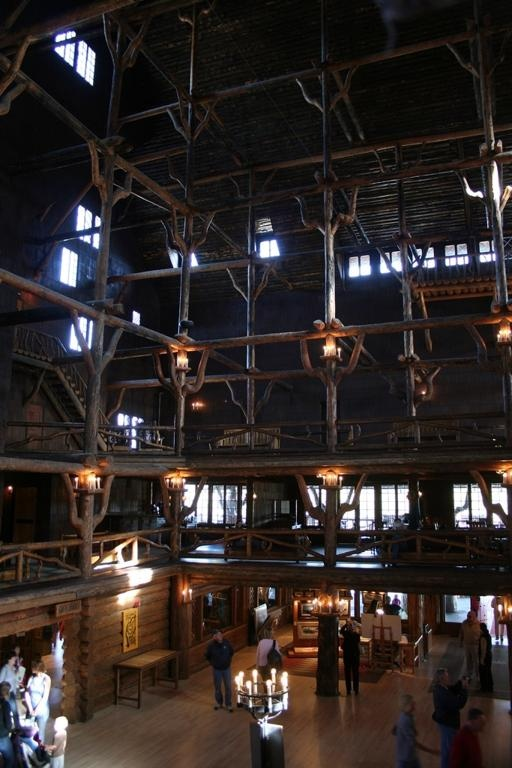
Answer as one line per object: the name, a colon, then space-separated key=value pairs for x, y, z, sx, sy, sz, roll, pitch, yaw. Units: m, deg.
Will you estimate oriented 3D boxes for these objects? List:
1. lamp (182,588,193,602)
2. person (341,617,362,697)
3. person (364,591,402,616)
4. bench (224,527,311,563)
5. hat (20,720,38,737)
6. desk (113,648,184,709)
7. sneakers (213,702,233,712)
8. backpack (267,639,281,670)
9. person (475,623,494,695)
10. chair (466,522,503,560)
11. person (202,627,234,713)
lamp: x=-1.372 y=4.295 z=13.431 sx=0.141 sy=0.275 sz=0.399 roll=-7 pitch=-13 yaw=22
person: x=1.757 y=5.037 z=12.240 sx=0.343 sy=1.226 sz=0.625 roll=-3 pitch=-13 yaw=5
person: x=3.009 y=5.270 z=15.632 sx=0.725 sy=0.452 sz=0.739 roll=-3 pitch=-11 yaw=16
bench: x=0.209 y=3.436 z=14.086 sx=1.763 sy=0.646 sz=3.650 roll=-2 pitch=-12 yaw=0
hat: x=-2.604 y=3.957 z=7.567 sx=0.187 sy=0.195 sz=0.358 roll=2 pitch=-13 yaw=-19
desk: x=-1.919 y=5.189 z=11.710 sx=0.506 sy=0.677 sz=1.406 roll=-3 pitch=-12 yaw=22
sneakers: x=-0.552 y=5.455 z=11.132 sx=0.356 sy=0.103 sz=0.262 roll=-4 pitch=-12 yaw=9
backpack: x=0.301 y=5.007 z=12.120 sx=0.235 sy=0.548 sz=0.596 roll=-4 pitch=-13 yaw=7
person: x=4.200 y=5.019 z=12.194 sx=0.264 sy=1.164 sz=1.013 roll=-6 pitch=-13 yaw=17
chair: x=4.708 y=3.213 z=13.464 sx=0.669 sy=0.528 sz=4.441 roll=-6 pitch=-13 yaw=18
person: x=-0.638 y=4.872 z=11.361 sx=0.433 sy=1.313 sz=1.315 roll=-1 pitch=-13 yaw=-5
